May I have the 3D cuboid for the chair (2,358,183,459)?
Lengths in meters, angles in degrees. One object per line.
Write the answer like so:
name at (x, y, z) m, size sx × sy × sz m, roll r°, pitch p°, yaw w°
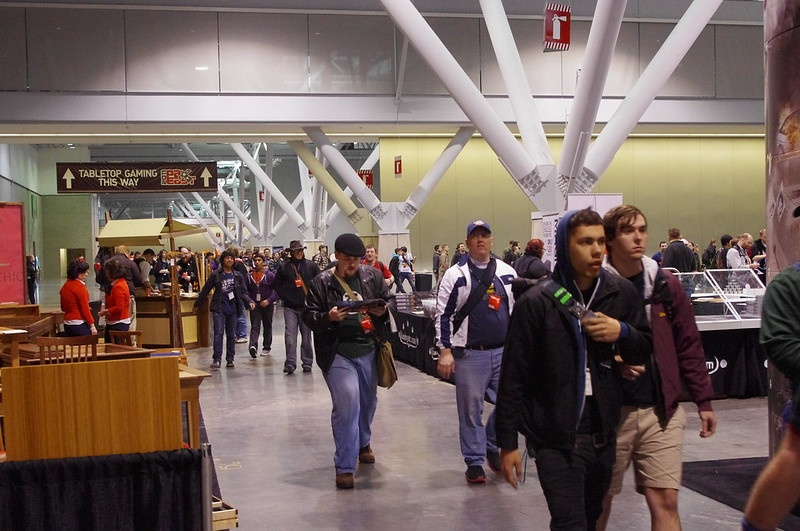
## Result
chair at (-2.051, 0.951, 4.643) m, size 0.813 × 0.497 × 0.785 m, roll -3°, pitch -3°, yaw -12°

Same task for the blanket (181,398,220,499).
blanket at (-1.672, 1.545, 5.844) m, size 0.423 × 0.224 × 1.033 m, roll -2°, pitch 7°, yaw -12°

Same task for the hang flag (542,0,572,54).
hang flag at (2.818, -4.274, 12.455) m, size 0.440 × 0.824 × 0.348 m, roll -1°, pitch 4°, yaw 9°

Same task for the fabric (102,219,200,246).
fabric at (-5.636, -0.735, 15.499) m, size 1.152 × 0.326 × 1.251 m, roll -3°, pitch -1°, yaw 4°
